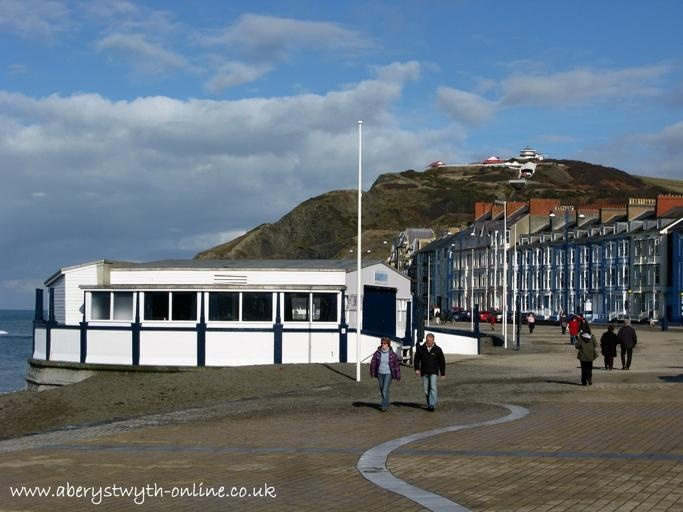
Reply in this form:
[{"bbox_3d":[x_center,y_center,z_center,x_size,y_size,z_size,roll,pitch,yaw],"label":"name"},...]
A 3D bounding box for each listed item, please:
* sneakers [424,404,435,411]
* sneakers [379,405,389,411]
[{"bbox_3d":[2.516,4.286,34.345,0.214,0.241,0.622,1,4,8],"label":"sneakers"},{"bbox_3d":[1.207,4.300,34.246,0.233,0.099,0.341,0,-3,-1],"label":"sneakers"}]
